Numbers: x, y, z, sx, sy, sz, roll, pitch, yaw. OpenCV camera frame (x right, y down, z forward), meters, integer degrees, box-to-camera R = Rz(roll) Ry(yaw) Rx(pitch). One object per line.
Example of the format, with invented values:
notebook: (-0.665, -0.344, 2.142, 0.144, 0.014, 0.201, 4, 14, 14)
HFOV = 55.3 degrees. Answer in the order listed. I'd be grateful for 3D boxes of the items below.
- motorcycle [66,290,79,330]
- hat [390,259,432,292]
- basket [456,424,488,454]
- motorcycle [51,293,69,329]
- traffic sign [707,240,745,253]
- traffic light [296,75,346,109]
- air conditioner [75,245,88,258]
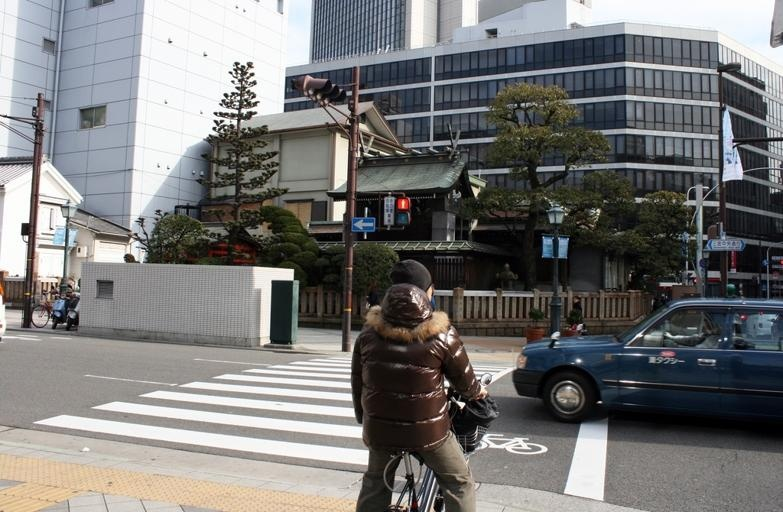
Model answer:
motorcycle: (-14.614, 2.641, 34.252, 0.451, 1.471, 0.938, 4, -4, -43)
hat: (0.400, 0.425, 17.109, 0.775, 0.618, 0.761, 13, -6, -19)
basket: (1.911, 4.212, 17.277, 0.712, 0.612, 0.552, 2, -7, 18)
motorcycle: (-15.444, 2.616, 34.704, 0.599, 1.448, 1.165, 3, -3, -26)
traffic sign: (15.515, -0.489, 34.675, 1.286, 0.458, 0.173, 1, -8, 2)
traffic light: (-2.629, -6.236, 28.032, 1.357, 0.700, 1.639, 15, 6, 18)
air conditioner: (-22.288, -0.357, 54.033, 1.194, 1.162, 0.614, 0, -6, 0)
